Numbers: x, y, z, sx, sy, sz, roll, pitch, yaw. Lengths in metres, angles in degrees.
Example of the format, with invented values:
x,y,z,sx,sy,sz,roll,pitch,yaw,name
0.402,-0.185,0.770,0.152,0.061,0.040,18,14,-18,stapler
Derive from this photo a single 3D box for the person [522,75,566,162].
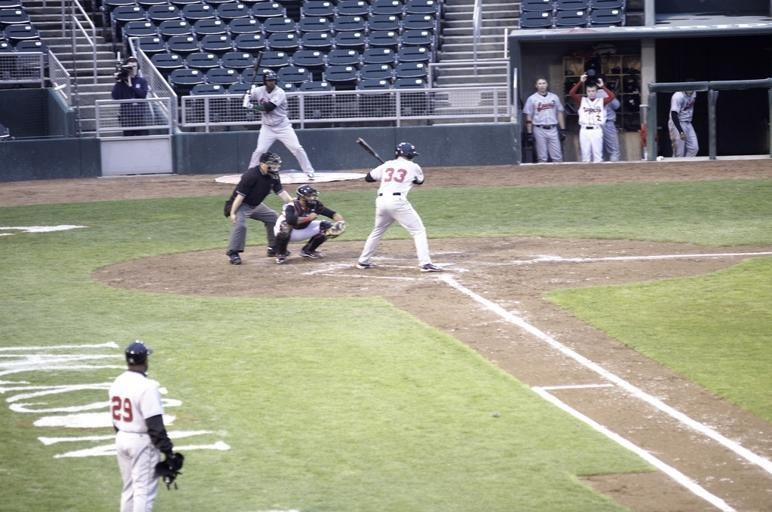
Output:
x,y,z,sx,sy,sz,roll,pitch,yaw,name
4.006,-3.358,31.012,0.967,2.080,1.079,-2,8,5,person

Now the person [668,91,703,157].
x,y,z,sx,sy,sz,roll,pitch,yaw,name
7.506,-3.291,31.226,0.697,1.618,1.137,-1,8,12,person

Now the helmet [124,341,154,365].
x,y,z,sx,sy,sz,roll,pitch,yaw,name
-2.772,1.057,13.817,0.313,0.153,0.303,9,29,13,helmet

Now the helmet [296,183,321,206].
x,y,z,sx,sy,sz,roll,pitch,yaw,name
-1.323,-1.038,21.278,0.346,0.336,0.692,-2,5,-2,helmet

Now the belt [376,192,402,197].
x,y,z,sx,sy,sz,roll,pitch,yaw,name
0.070,-1.014,20.220,0.419,0.052,0.117,2,6,31,belt

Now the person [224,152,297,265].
x,y,z,sx,sy,sz,roll,pitch,yaw,name
-2.161,-0.893,21.202,0.996,1.691,0.873,-8,10,-35,person

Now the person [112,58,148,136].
x,y,z,sx,sy,sz,roll,pitch,yaw,name
-6.203,-3.889,30.398,0.838,1.892,0.982,-4,8,-8,person

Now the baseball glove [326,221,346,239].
x,y,z,sx,sy,sz,roll,pitch,yaw,name
-0.810,-0.461,21.219,0.316,0.272,0.369,-3,6,-8,baseball glove

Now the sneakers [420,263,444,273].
x,y,z,sx,sy,sz,roll,pitch,yaw,name
0.767,0.199,20.508,0.493,0.111,0.124,0,15,-5,sneakers

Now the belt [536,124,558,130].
x,y,z,sx,sy,sz,roll,pitch,yaw,name
4.011,-3.196,30.847,0.469,0.099,0.124,1,7,17,belt

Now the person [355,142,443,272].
x,y,z,sx,sy,sz,roll,pitch,yaw,name
0.176,-0.801,20.638,1.349,2.111,1.005,-3,8,-3,person
